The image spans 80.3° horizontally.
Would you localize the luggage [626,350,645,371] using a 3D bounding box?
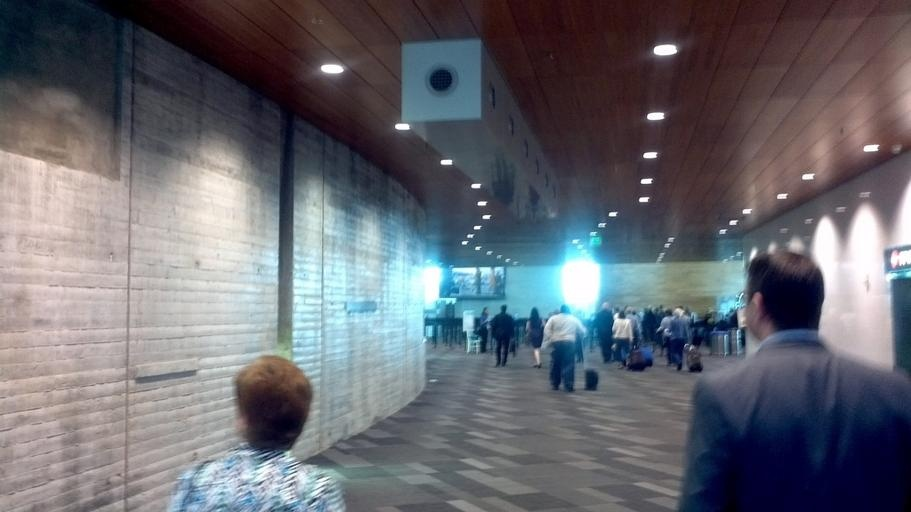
[{"bbox_3d":[5.450,3.114,16.297,0.470,0.599,0.630,3,-10,10],"label":"luggage"}]
